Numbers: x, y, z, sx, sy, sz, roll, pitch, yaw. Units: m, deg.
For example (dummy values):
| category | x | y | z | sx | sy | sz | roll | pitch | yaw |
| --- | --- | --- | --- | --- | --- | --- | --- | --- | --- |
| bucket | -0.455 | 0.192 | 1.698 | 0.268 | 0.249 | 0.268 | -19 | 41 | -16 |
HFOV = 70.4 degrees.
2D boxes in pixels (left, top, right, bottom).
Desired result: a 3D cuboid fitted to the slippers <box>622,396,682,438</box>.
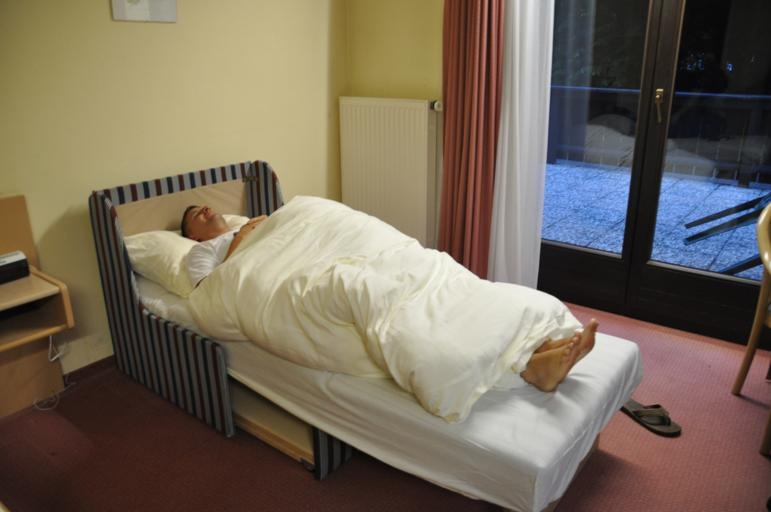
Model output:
| category | x | y | z | sx | sy | sz | roll | pitch | yaw |
| --- | --- | --- | --- | --- | --- | --- | --- | --- | --- |
| slippers | 1.552 | 0.949 | 3.233 | 0.141 | 0.087 | 0.356 | -21 | 23 | -27 |

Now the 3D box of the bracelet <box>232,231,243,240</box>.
| category | x | y | z | sx | sy | sz | roll | pitch | yaw |
| --- | --- | --- | --- | --- | --- | --- | --- | --- | --- |
| bracelet | -0.966 | -0.131 | 3.546 | 0.038 | 0.047 | 0.113 | -5 | 10 | -15 |

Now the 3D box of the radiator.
| category | x | y | z | sx | sy | sz | roll | pitch | yaw |
| --- | --- | --- | --- | --- | --- | --- | --- | --- | --- |
| radiator | 0.070 | -0.718 | 4.325 | 1.093 | 1.630 | 0.161 | 11 | 24 | 28 |

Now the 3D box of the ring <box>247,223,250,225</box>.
| category | x | y | z | sx | sy | sz | roll | pitch | yaw |
| --- | --- | --- | --- | --- | --- | --- | --- | --- | --- |
| ring | -0.909 | -0.214 | 3.617 | 0.018 | 0.005 | 0.019 | -3 | 28 | 2 |

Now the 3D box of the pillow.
| category | x | y | z | sx | sy | sz | roll | pitch | yaw |
| --- | --- | --- | --- | --- | --- | --- | --- | --- | --- |
| pillow | -1.378 | -0.008 | 3.428 | 0.489 | 0.150 | 0.438 | 23 | 44 | 29 |

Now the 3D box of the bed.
| category | x | y | z | sx | sy | sz | roll | pitch | yaw |
| --- | --- | --- | --- | --- | --- | --- | --- | --- | --- |
| bed | -0.409 | 0.563 | 3.398 | 3.233 | 1.457 | 1.570 | 21 | 40 | 30 |
